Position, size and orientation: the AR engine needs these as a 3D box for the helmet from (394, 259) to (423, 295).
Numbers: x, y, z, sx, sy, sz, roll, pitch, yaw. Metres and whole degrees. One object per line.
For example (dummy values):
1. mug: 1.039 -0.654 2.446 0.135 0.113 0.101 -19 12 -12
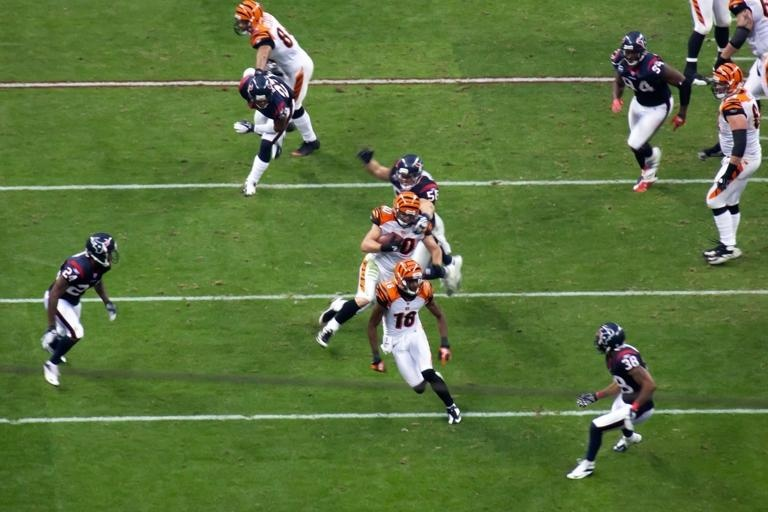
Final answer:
1. helmet: 0.345 0.327 18.689 0.379 0.443 0.332 2 35 8

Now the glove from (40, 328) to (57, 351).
1. glove: -4.701 1.225 19.178 0.188 0.392 0.169 -18 77 -22

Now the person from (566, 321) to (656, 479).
1. person: 3.123 1.944 18.290 1.021 1.822 1.389 4 35 11

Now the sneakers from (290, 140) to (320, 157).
1. sneakers: -1.280 -1.764 22.990 0.556 0.211 0.185 -16 50 15

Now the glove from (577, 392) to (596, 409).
1. glove: 2.794 1.991 18.612 0.150 0.123 0.303 15 -24 -40

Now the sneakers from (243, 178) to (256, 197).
1. sneakers: -2.176 -1.086 22.116 0.193 0.130 0.297 4 38 -18

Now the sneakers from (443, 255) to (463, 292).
1. sneakers: 1.042 0.293 20.164 0.314 0.534 0.219 4 -3 -17

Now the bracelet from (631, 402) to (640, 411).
1. bracelet: 3.346 2.018 17.969 0.116 0.099 0.117 7 0 31

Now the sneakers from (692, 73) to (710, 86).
1. sneakers: 5.520 -2.999 23.592 0.218 0.132 0.380 -30 33 -35

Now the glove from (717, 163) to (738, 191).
1. glove: 5.179 -1.163 20.509 0.181 0.419 0.267 41 21 -14

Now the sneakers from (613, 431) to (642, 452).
1. sneakers: 3.335 2.578 18.521 0.487 0.220 0.167 -26 48 30

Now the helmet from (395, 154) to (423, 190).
1. helmet: 0.464 -1.222 19.903 0.447 0.464 0.472 12 64 10

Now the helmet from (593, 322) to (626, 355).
1. helmet: 3.120 1.093 18.338 0.473 0.386 0.363 18 35 29

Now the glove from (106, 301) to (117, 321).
1. glove: -3.987 0.843 19.767 0.207 0.372 0.123 5 49 -1

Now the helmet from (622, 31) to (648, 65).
1. helmet: 3.994 -3.288 21.437 0.421 0.447 0.479 10 67 20

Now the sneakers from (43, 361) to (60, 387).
1. sneakers: -4.682 1.700 19.168 0.200 0.366 0.224 -13 36 -13

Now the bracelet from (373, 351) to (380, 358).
1. bracelet: -0.104 1.386 18.860 0.100 0.110 0.086 4 -8 -20

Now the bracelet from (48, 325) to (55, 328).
1. bracelet: -4.657 1.024 19.055 0.080 0.046 0.040 -9 57 7

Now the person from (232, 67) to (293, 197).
1. person: -1.906 -2.045 22.138 1.006 1.920 1.329 -6 35 -3

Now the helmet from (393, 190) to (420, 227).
1. helmet: 0.339 -0.638 19.364 0.347 0.483 0.397 6 35 13

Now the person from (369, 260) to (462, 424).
1. person: 0.393 1.143 18.914 1.187 2.093 1.226 -5 35 -1

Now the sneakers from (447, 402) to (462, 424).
1. sneakers: 0.990 2.239 18.906 0.148 0.134 0.341 -2 4 2

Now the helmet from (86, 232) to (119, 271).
1. helmet: -3.969 -0.028 19.188 0.263 0.509 0.384 28 46 36

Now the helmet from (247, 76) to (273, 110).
1. helmet: -1.967 -2.550 21.634 0.435 0.492 0.465 2 72 -6

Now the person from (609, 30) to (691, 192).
1. person: 4.309 -2.336 21.933 1.029 2.567 1.153 -12 37 -11
